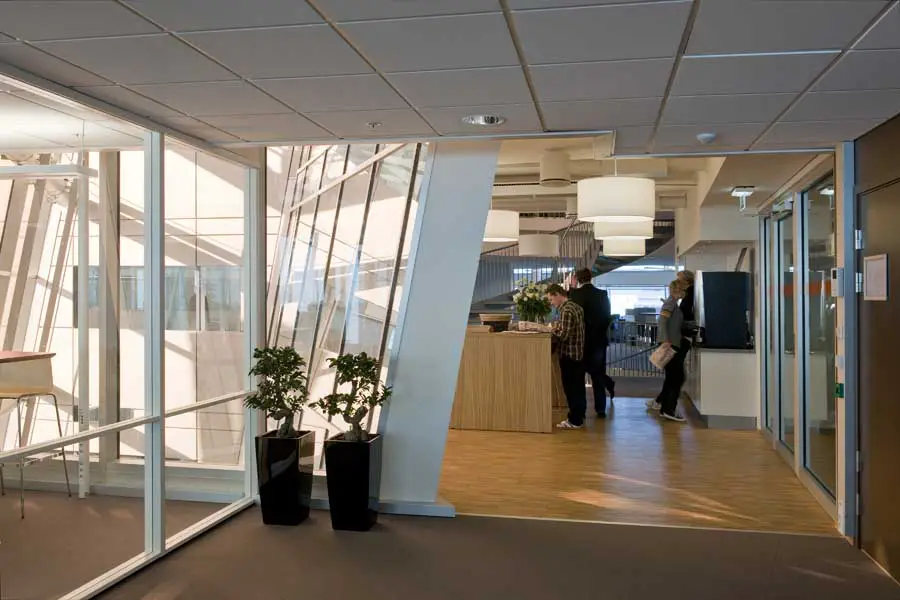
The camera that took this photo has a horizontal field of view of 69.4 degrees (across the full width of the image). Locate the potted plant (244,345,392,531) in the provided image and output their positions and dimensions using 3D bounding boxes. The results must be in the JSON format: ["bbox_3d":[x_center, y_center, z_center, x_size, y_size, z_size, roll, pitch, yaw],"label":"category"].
[{"bbox_3d":[-1.177,1.229,6.030,1.227,1.586,0.639,1,6,13],"label":"potted plant"}]

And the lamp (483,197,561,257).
[{"bbox_3d":[2.127,-1.814,16.941,1.628,1.681,2.747,2,-3,0],"label":"lamp"}]

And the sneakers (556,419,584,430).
[{"bbox_3d":[1.670,1.761,9.110,0.367,0.128,0.129,3,-2,13],"label":"sneakers"}]

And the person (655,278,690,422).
[{"bbox_3d":[3.290,0.740,9.615,0.398,2.088,0.730,1,6,18],"label":"person"}]

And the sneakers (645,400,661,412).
[{"bbox_3d":[3.211,1.691,10.331,0.248,0.153,0.126,5,-4,19],"label":"sneakers"}]

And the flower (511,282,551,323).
[{"bbox_3d":[1.325,0.013,10.345,0.681,0.623,0.600,3,11,0],"label":"flower"}]

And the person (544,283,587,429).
[{"bbox_3d":[1.652,0.788,9.296,0.542,1.949,0.762,0,6,9],"label":"person"}]

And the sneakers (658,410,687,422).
[{"bbox_3d":[3.270,1.717,9.578,0.374,0.125,0.132,1,-2,24],"label":"sneakers"}]
